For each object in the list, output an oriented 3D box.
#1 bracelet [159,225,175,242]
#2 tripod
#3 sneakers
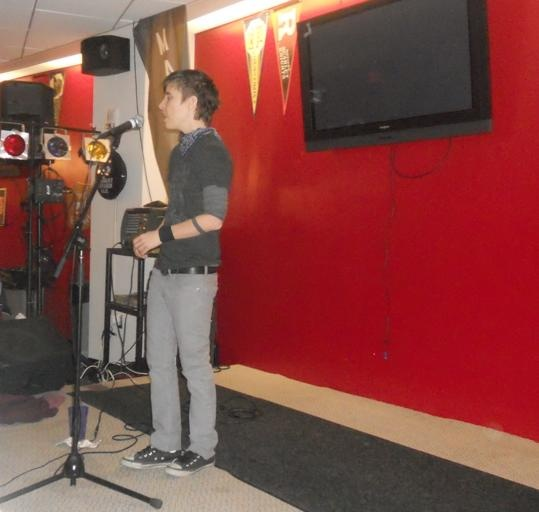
[{"bbox_3d":[-0.429,-0.092,2.208,0.050,0.071,0.025,-3,-6,20],"label":"bracelet"},{"bbox_3d":[-0.854,0.331,2.244,0.562,1.353,0.809,-2,5,-34],"label":"tripod"},{"bbox_3d":[-0.463,0.918,2.378,0.286,0.118,0.166,13,-18,-20],"label":"sneakers"}]
